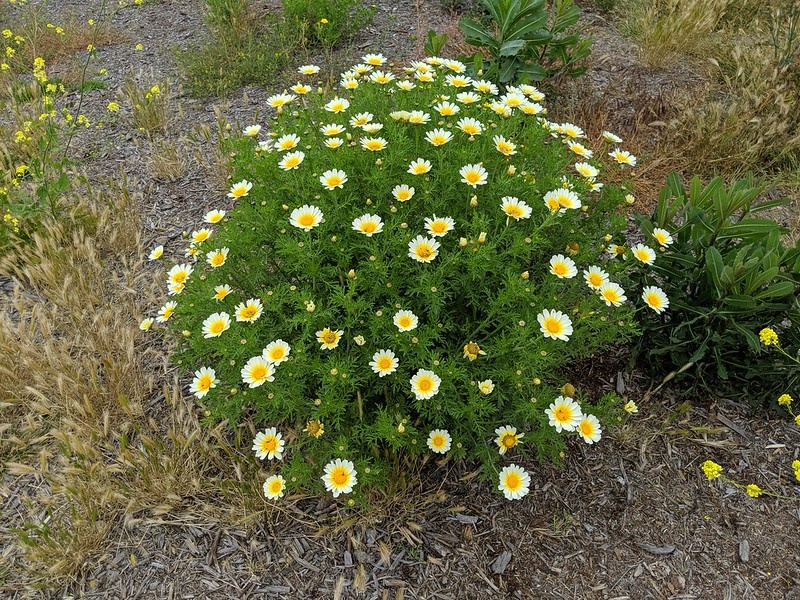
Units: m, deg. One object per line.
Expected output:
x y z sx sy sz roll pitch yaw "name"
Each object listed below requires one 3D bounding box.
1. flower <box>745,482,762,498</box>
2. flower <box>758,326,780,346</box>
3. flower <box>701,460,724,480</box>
2.524 1.359 4.461 0.089 0.059 0.095 14 37 40 "flower"
2.640 0.253 4.513 0.125 0.123 0.153 3 2 -6 "flower"
2.240 1.223 4.480 0.130 0.085 0.144 2 18 10 "flower"
